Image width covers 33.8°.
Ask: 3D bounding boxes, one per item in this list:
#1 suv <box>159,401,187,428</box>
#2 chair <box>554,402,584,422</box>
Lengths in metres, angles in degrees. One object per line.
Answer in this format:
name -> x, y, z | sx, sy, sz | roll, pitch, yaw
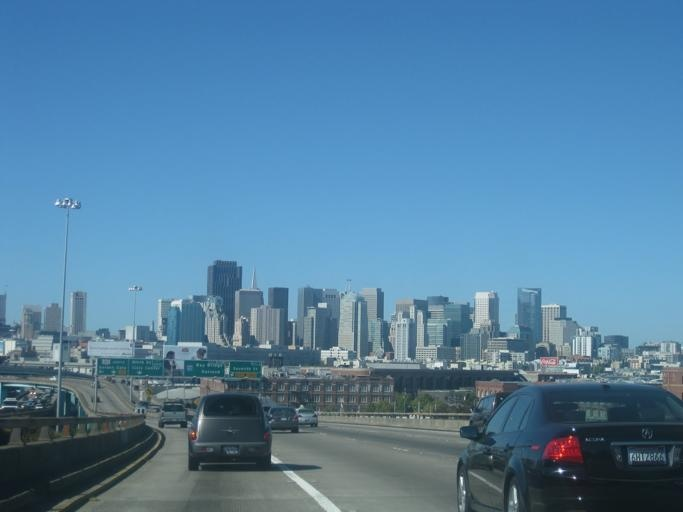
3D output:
suv -> -9.655, 9.337, 64.092 | 1.024, 1.047, 2.177 | 1, -1, -9
chair -> 3.675, 2.605, 18.180 | 0.297, 0.301, 0.316 | 2, -2, 1
